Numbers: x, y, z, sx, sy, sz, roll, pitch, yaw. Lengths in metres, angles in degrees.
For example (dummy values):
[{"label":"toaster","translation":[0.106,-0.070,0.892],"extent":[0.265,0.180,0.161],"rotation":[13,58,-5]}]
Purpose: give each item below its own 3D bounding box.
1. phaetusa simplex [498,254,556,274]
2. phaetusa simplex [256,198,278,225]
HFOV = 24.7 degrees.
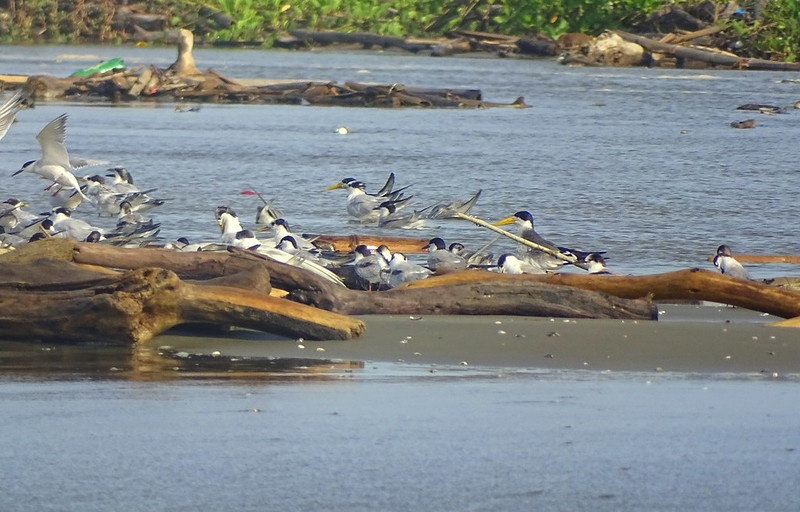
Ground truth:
[{"label":"phaetusa simplex","translation":[4.252,0.326,65.766],"extent":[1.627,0.518,0.808],"rotation":[-11,2,24]},{"label":"phaetusa simplex","translation":[-5.241,-1.634,70.617],"extent":[0.839,0.573,1.058],"rotation":[-2,5,-7]}]
